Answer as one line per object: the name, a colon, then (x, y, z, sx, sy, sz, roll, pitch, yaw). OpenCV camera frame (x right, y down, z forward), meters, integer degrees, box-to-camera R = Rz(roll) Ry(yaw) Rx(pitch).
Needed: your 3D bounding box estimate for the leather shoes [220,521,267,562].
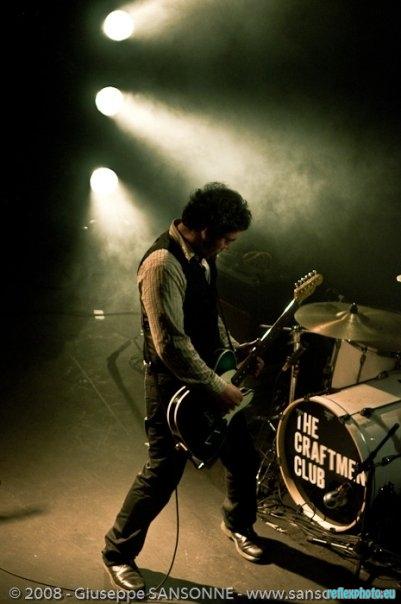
leather shoes: (0.222, 1.208, 2.619, 0.098, 0.100, 0.237, 17, 5, -38)

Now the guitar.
guitar: (0.167, 0.299, 2.416, 0.244, 0.863, 0.830, 14, 1, 24)

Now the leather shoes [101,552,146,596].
leather shoes: (-0.346, 1.212, 2.286, 0.087, 0.081, 0.207, 22, -6, -37)
